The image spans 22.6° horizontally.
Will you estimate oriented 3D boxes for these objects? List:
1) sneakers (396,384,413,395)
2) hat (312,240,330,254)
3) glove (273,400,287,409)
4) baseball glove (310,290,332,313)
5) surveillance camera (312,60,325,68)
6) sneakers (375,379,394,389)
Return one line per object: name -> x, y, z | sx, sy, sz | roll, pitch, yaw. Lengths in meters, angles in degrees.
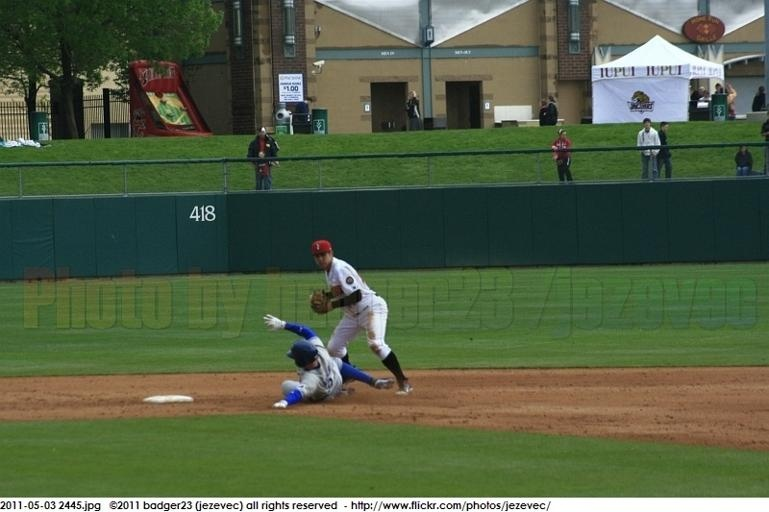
sneakers -> 0.620, 4.135, 59.802 | 0.502, 0.221, 0.230 | -3, -1, 11
hat -> -1.988, -0.307, 59.431 | 0.559, 0.340, 0.519 | -3, 2, -4
glove -> -3.200, 4.541, 59.029 | 0.250, 0.131, 0.372 | -3, 5, 9
baseball glove -> -2.017, 1.384, 59.150 | 0.556, 0.728, 0.339 | -6, -9, -1
surveillance camera -> -3.090, -8.820, 86.916 | 0.317, 0.153, 0.433 | 6, 18, 28
sneakers -> -0.022, 3.944, 59.710 | 0.501, 0.265, 0.231 | 2, 5, -2
